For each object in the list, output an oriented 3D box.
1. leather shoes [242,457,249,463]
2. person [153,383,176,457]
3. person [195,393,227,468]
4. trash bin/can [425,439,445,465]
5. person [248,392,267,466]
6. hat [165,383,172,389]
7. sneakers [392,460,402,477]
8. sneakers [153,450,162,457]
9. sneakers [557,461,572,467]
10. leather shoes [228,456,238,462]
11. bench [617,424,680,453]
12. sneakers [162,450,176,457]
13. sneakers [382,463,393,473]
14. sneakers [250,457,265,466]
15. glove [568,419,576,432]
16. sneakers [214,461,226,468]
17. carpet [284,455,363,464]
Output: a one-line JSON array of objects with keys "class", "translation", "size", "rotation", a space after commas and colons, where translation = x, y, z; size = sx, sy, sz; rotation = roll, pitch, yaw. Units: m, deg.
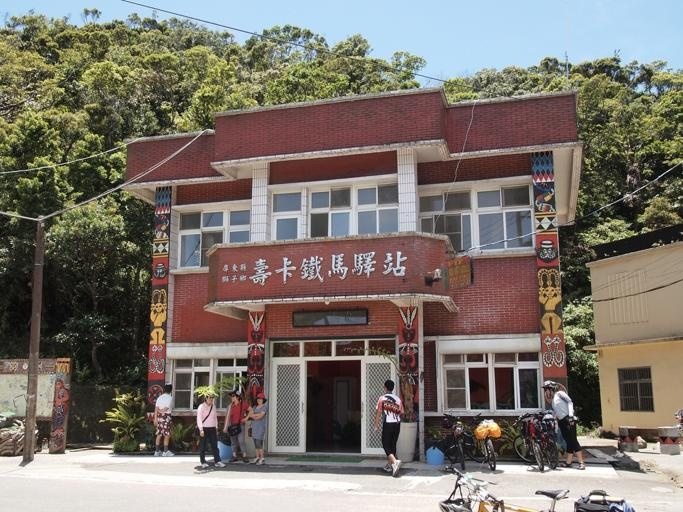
[{"class": "leather shoes", "translation": [-2.962, 6.288, 22.216], "size": [0.126, 0.126, 0.283], "rotation": [2, -23, -7]}, {"class": "person", "translation": [-5.793, 5.401, 23.653], "size": [0.627, 2.259, 1.127], "rotation": [4, -13, -12]}, {"class": "person", "translation": [-3.876, 5.216, 21.551], "size": [0.861, 2.139, 0.976], "rotation": [3, -13, -9]}, {"class": "trash bin/can", "translation": [2.854, 5.950, 21.644], "size": [0.525, 0.542, 0.537], "rotation": [-7, -12, 29]}, {"class": "person", "translation": [-2.601, 5.337, 22.283], "size": [0.553, 2.084, 0.942], "rotation": [2, -13, -7]}, {"class": "hat", "translation": [-5.640, 4.246, 23.480], "size": [0.154, 0.171, 0.180], "rotation": [-2, -1, 5]}, {"class": "sneakers", "translation": [1.471, 5.805, 19.795], "size": [0.227, 0.499, 0.168], "rotation": [10, 8, 20]}, {"class": "sneakers", "translation": [-6.023, 6.478, 23.647], "size": [0.123, 0.133, 0.311], "rotation": [0, -8, 5]}, {"class": "sneakers", "translation": [6.428, 6.000, 20.769], "size": [0.388, 0.103, 0.153], "rotation": [0, -10, 23]}, {"class": "leather shoes", "translation": [-3.336, 6.280, 22.293], "size": [0.208, 0.150, 0.284], "rotation": [3, -13, -10]}, {"class": "bench", "translation": [10.315, 6.177, 24.092], "size": [1.937, 0.862, 1.082], "rotation": [-5, -14, 20]}, {"class": "sneakers", "translation": [-5.684, 6.471, 23.610], "size": [0.457, 0.211, 0.178], "rotation": [3, -6, -5]}, {"class": "sneakers", "translation": [1.305, 5.982, 20.303], "size": [0.142, 0.168, 0.391], "rotation": [4, -9, -10]}, {"class": "sneakers", "translation": [-2.528, 6.252, 21.902], "size": [0.265, 0.123, 0.338], "rotation": [5, -5, -23]}, {"class": "glove", "translation": [6.443, 4.735, 20.178], "size": [0.133, 0.116, 0.453], "rotation": [-2, -25, 27]}, {"class": "sneakers", "translation": [-3.598, 6.155, 21.222], "size": [0.233, 0.101, 0.116], "rotation": [-2, -8, 16]}, {"class": "carpet", "translation": [-0.479, 6.337, 22.571], "size": [2.301, 0.178, 1.460], "rotation": [0, -13, 1]}]
